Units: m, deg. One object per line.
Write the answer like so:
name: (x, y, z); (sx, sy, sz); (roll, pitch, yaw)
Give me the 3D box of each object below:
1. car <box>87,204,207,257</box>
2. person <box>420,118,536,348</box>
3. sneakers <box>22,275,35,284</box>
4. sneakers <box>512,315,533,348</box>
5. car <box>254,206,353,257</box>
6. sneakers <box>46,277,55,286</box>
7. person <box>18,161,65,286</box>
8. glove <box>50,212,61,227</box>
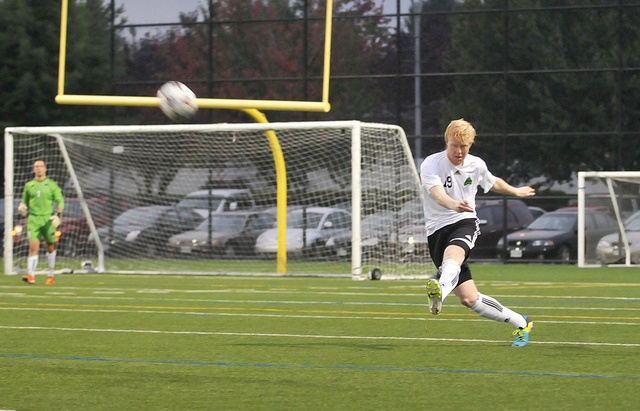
car: (-5.077, 0.718, 30.910); (2.690, 0.873, 1.514); (1, -3, -33)
person: (2.436, 0.326, 17.905); (1.797, 3.514, 0.937); (2, -4, -36)
sneakers: (-6.707, 1.710, 24.322); (0.307, 0.145, 0.115); (16, -28, -24)
sneakers: (3.456, 2.216, 18.206); (0.331, 0.587, 0.242); (2, 11, -36)
car: (-0.373, 0.753, 29.043); (2.425, 0.803, 1.251); (0, 0, 5)
sneakers: (-6.228, 1.741, 24.312); (0.187, 0.132, 0.202); (-1, -14, -2)
person: (-6.349, 0.377, 24.040); (1.158, 2.791, 0.692); (-2, -4, 39)
glove: (-6.037, 0.357, 23.993); (0.222, 0.302, 0.362); (1, -3, -13)
